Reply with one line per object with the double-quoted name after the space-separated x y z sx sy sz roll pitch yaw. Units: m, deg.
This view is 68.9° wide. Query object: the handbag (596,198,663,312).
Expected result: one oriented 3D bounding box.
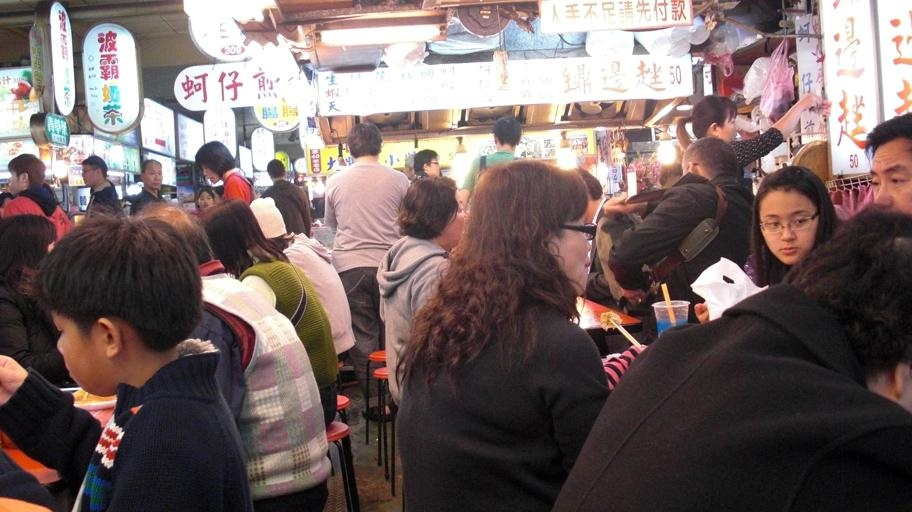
1.243 -0.035 5.172 0.298 0.750 0.603 -9 10 25 "handbag"
